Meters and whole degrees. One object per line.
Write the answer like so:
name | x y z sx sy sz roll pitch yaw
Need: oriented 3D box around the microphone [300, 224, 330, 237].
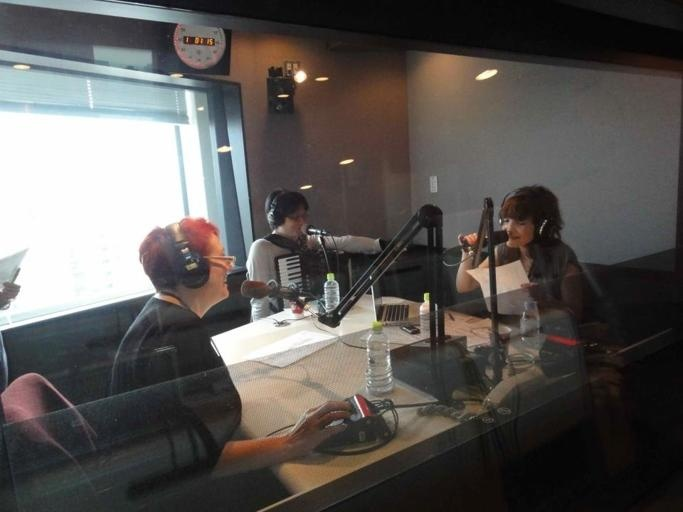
microphone | -0.062 -0.054 1.184 0.063 0.020 0.020 12 43 1

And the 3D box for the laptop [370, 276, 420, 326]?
laptop | 0.127 0.130 1.292 0.113 0.099 0.135 0 39 3

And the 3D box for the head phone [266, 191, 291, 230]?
head phone | -0.139 -0.099 1.111 0.031 0.072 0.078 -1 6 15

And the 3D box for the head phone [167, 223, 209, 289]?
head phone | -0.318 -0.004 1.053 0.053 0.116 0.105 -20 13 -7

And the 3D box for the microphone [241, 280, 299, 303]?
microphone | -0.165 0.076 1.120 0.138 0.040 0.046 2 37 -18
